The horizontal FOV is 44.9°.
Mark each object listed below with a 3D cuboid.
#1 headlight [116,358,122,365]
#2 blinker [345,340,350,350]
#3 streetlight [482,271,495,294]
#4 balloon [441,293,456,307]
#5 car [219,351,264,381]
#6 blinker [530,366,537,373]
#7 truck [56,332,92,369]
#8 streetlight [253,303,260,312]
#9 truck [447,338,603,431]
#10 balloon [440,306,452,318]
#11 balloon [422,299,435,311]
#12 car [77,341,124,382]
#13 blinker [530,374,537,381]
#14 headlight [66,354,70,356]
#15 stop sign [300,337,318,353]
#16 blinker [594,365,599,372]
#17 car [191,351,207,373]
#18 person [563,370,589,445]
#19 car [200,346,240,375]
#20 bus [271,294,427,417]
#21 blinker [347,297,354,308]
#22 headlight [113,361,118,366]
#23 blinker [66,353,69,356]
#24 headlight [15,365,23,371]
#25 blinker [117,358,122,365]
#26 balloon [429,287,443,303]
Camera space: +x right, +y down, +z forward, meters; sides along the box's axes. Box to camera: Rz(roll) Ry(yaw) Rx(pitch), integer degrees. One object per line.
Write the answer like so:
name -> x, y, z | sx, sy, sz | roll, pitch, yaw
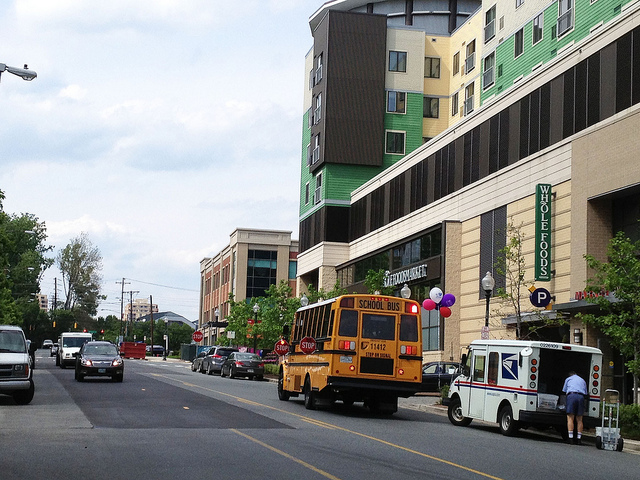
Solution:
headlight -> -9.886, 5.991, 38.076 | 0.258, 0.266, 0.086 | -2, -4, -41
blinker -> 0.911, 3.450, 25.405 | 0.157, 0.310, 0.034 | 7, -13, -25
streetlight -> 6.631, 1.718, 30.469 | 0.410, 0.970, 1.160 | -1, -13, 12
balloon -> 6.061, 2.828, 36.608 | 0.583, 0.593, 0.932 | -2, -14, 17
car -> -5.004, 8.230, 50.546 | 1.856, 2.042, 3.391 | 12, -17, -40
blinker -> 6.125, 3.706, 22.104 | 0.187, 0.176, 0.035 | 2, -11, -1
truck -> -15.526, 7.031, 48.899 | 2.760, 2.626, 4.782 | 2, -10, -13
streetlight -> -4.695, 5.045, 57.541 | 0.473, 0.533, 0.503 | 1, -8, -2
truck -> 5.970, 4.200, 23.938 | 2.715, 2.124, 3.837 | 4, -4, -28
balloon -> 6.025, 3.410, 37.210 | 0.526, 0.588, 0.305 | 4, 20, 31
balloon -> 5.301, 3.164, 37.399 | 0.508, 0.668, 0.543 | -1, 10, 8
car -> -10.948, 5.945, 38.472 | 1.852, 1.901, 2.339 | 14, -17, -43
blinker -> 6.100, 3.932, 22.076 | 0.187, 0.177, 0.036 | 5, -12, -17
headlight -> -17.187, 7.873, 52.806 | 0.200, 0.095, 0.052 | 8, -14, -26
stop sign -> -0.337, 3.710, 27.274 | 0.609, 0.676, 0.106 | 1, -2, 39
blinker -> 8.200, 3.807, 22.875 | 0.138, 0.200, 0.046 | 5, -12, -15
car -> -8.829, 9.004, 57.728 | 1.277, 1.210, 2.154 | 2, 2, -20
person -> 7.389, 4.809, 22.264 | 0.711, 2.089, 1.014 | -3, -12, 19
car -> -7.336, 8.390, 54.230 | 1.387, 1.332, 3.152 | 1, -2, -14
bus -> 0.894, 4.069, 27.824 | 3.732, 2.907, 5.309 | 5, -6, -20
blinker -> 1.043, 2.088, 25.646 | 0.191, 0.328, 0.110 | 1, -12, 2
headlight -> -9.997, 6.058, 37.864 | 0.209, 0.160, 0.099 | 14, -17, -43
blinker -> -17.178, 7.822, 52.826 | 0.186, 0.198, 0.096 | 0, -2, 0
headlight -> -9.922, 4.201, 25.476 | 0.184, 0.206, 0.046 | 2, -2, -15
blinker -> -9.876, 5.992, 38.086 | 0.191, 0.273, 0.100 | 3, -3, -38
balloon -> 5.431, 2.556, 35.994 | 0.503, 0.709, 1.590 | -1, -13, 10
